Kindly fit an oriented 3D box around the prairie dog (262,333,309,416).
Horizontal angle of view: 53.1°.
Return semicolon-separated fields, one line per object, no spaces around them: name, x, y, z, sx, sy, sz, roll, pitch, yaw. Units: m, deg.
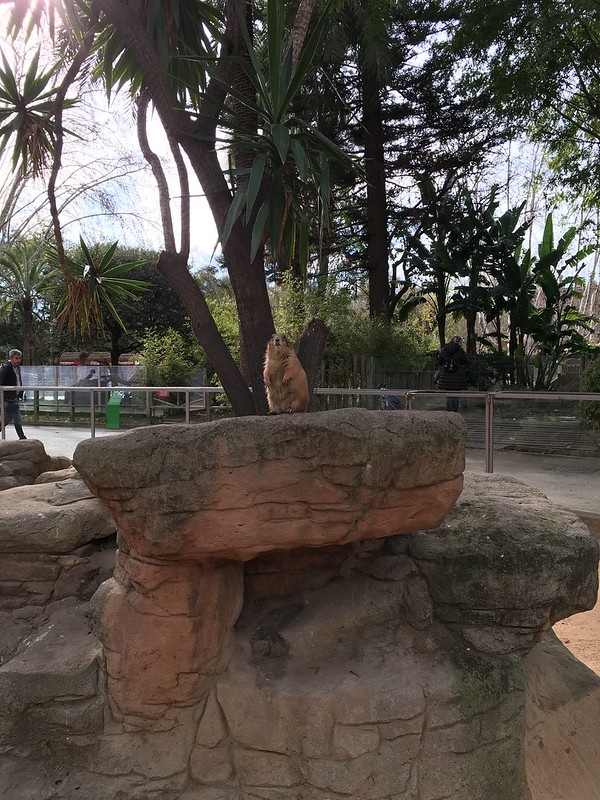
prairie dog;-0.079;-0.049;3.788;0.155;0.695;0.341;-1;39;5
